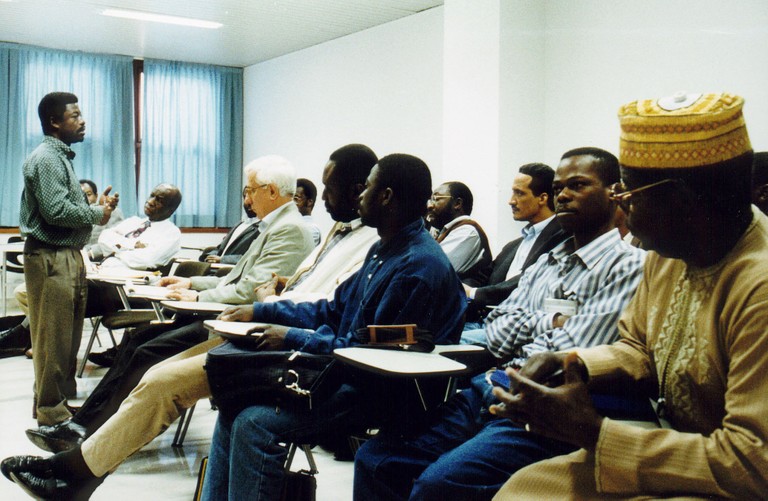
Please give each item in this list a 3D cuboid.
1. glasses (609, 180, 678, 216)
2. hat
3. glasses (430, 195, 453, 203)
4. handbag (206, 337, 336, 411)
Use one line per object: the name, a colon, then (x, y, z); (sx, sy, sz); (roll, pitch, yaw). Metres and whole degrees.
glasses: (0.792, -0.139, 1.900); (0.125, 0.036, 0.120); (-18, -3, 7)
hat: (0.890, -0.358, 1.861); (0.284, 0.156, 0.275); (-13, 17, -7)
glasses: (0.463, -0.428, 5.191); (0.112, 0.032, 0.105); (3, -3, -7)
handbag: (-0.472, 0.493, 2.533); (0.379, 0.164, 0.296); (3, -6, 0)
